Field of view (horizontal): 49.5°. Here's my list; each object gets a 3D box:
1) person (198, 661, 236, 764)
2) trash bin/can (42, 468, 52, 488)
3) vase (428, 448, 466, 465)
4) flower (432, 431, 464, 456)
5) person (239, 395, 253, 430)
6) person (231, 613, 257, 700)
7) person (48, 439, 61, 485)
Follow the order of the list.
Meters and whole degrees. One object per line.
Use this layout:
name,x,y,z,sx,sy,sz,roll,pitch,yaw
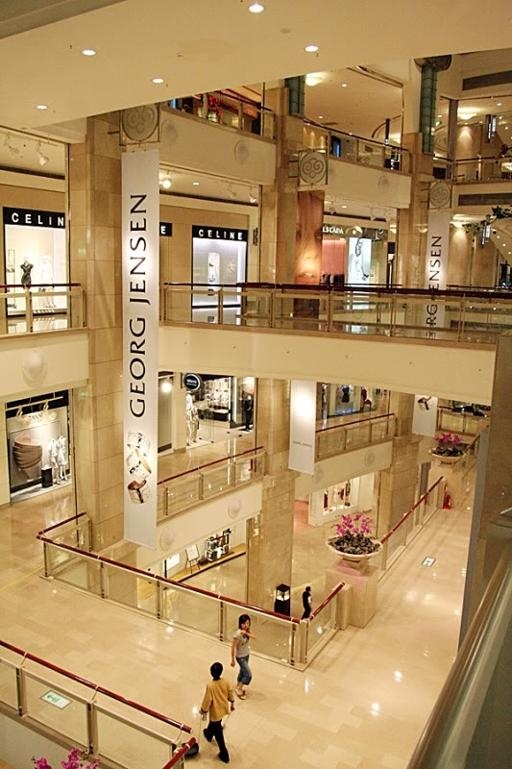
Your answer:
person,-0.448,3.815,6.604,0.392,1.093,0.483,7,6,-1
trash bin/can,-5.685,2.531,15.148,0.324,0.531,0.183,4,6,-29
vase,6.188,2.413,18.085,0.666,0.279,0.677,-13,-7,31
flower,6.531,2.071,18.695,0.753,0.306,0.770,-23,27,-36
person,-0.277,0.902,17.914,0.321,1.114,0.480,5,6,-20
person,-0.172,3.752,7.757,0.311,1.033,0.505,7,6,3
person,-5.609,2.158,15.523,0.332,1.125,0.473,3,7,-37
